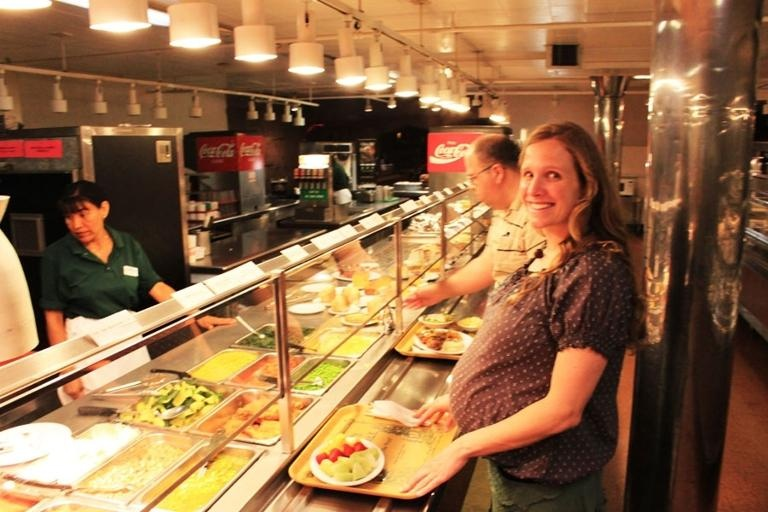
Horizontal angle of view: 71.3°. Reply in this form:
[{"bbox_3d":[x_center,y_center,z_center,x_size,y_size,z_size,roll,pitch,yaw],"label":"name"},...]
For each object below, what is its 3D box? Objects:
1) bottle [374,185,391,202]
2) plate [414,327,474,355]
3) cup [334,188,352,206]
[{"bbox_3d":[-0.028,-1.195,10.227,0.244,0.271,0.537,-1,13,16],"label":"bottle"},{"bbox_3d":[0.350,0.504,3.139,0.236,0.026,0.192,-4,12,-22],"label":"plate"},{"bbox_3d":[-0.728,-1.065,9.682,0.434,0.232,0.400,-2,10,0],"label":"cup"}]
